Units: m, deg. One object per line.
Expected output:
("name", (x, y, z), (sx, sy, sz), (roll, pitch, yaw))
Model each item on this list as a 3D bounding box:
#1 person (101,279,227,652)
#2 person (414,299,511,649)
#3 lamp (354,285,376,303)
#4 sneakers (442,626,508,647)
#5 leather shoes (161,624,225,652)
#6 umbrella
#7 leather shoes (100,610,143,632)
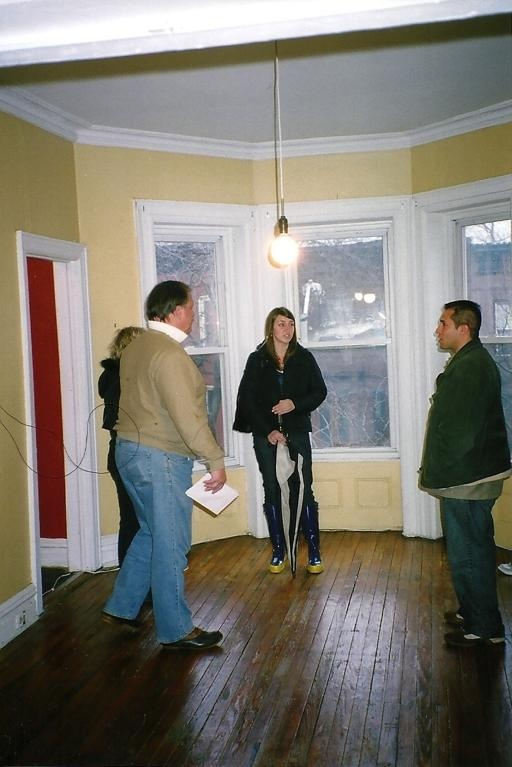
("person", (-0.361, 0.351, 2.537), (0.464, 1.538, 0.364), (-2, 1, 0))
("person", (0.850, 0.364, 2.566), (0.361, 1.412, 0.336), (-1, 2, 30))
("lamp", (0.761, -0.593, 4.330), (0.142, 0.086, 0.028), (-2, 2, 17))
("sneakers", (0.901, 1.032, 2.549), (0.234, 0.096, 0.087), (2, 0, 9))
("leather shoes", (-0.267, 1.071, 2.642), (0.256, 0.092, 0.099), (-6, -6, 0))
("umbrella", (0.197, 0.661, 3.463), (0.119, 0.756, 0.215), (-1, 2, 27))
("leather shoes", (-0.652, 1.089, 2.900), (0.221, 0.096, 0.076), (2, -1, 8))
